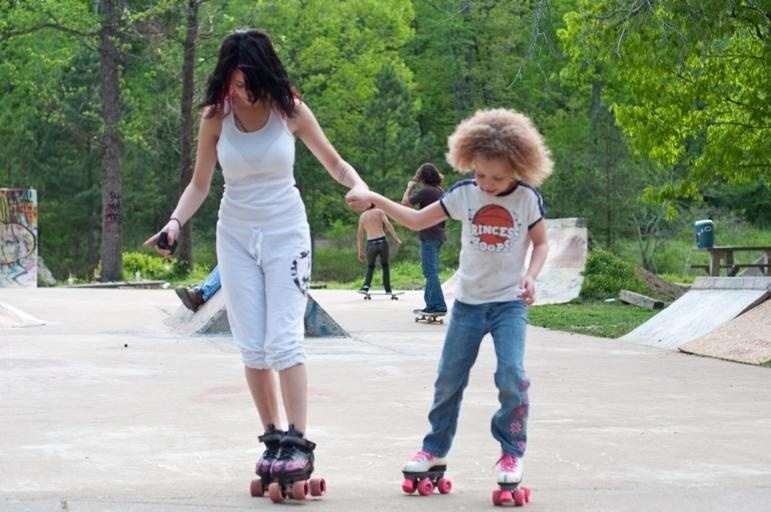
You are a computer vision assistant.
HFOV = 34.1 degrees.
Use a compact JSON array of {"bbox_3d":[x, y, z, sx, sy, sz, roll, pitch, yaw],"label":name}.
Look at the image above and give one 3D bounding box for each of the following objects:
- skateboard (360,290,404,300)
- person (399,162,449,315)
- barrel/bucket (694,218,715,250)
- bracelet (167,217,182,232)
[{"bbox_3d":[-0.069,0.873,27.928,1.099,0.166,0.315,-1,3,-6],"label":"skateboard"},{"bbox_3d":[0.604,-0.277,22.564,1.009,2.629,1.031,0,-4,38],"label":"person"},{"bbox_3d":[7.407,-0.450,29.020,0.392,0.688,1.120,4,7,13],"label":"barrel/bucket"},{"bbox_3d":[-2.803,-0.415,16.731,0.166,0.063,0.141,40,-2,-25],"label":"bracelet"}]
